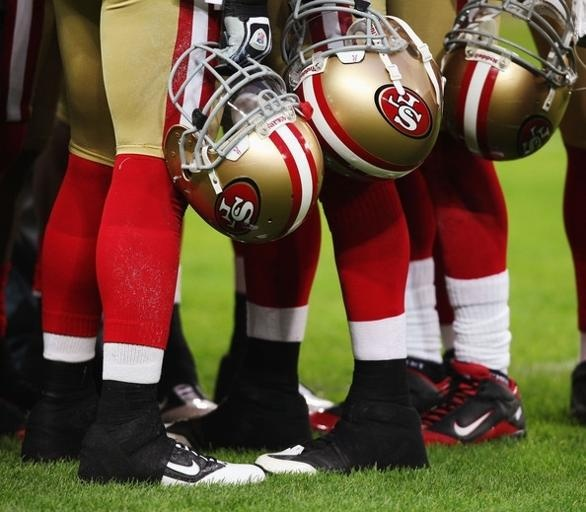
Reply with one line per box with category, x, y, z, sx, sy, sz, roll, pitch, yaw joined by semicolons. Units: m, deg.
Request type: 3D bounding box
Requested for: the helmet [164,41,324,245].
helmet;-0.086;-0.176;1.228;0.308;0.249;0.254;43;60;15
